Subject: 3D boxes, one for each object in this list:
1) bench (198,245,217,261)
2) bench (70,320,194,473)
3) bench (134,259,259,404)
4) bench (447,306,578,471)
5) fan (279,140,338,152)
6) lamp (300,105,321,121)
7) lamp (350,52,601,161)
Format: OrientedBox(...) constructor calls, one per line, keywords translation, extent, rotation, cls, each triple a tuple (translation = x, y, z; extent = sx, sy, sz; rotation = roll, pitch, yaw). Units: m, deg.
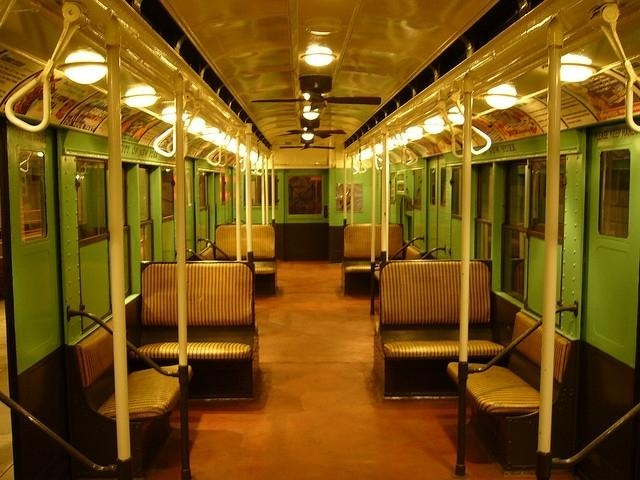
OrientedBox(translation=(-2.566, 0.333, 11.390), extent=(0.331, 0.470, 0.362), rotation=(-1, 8, -29), cls="bench")
OrientedBox(translation=(-1.905, 1.641, 4.984), extent=(0.611, 1.168, 1.745), rotation=(-1, 1, -8), cls="bench")
OrientedBox(translation=(-1.667, 1.270, 7.290), extent=(2.009, 2.142, 1.619), rotation=(0, 0, -2), cls="bench")
OrientedBox(translation=(2.085, 1.125, 5.567), extent=(1.214, 1.163, 2.276), rotation=(1, 2, 8), cls="bench")
OrientedBox(translation=(-0.340, -2.947, 15.212), extent=(1.187, 0.154, 1.330), rotation=(-2, 0, -7), cls="fan")
OrientedBox(translation=(-0.122, -1.654, 6.409), extent=(0.169, 0.146, 0.184), rotation=(1, 8, 8), cls="lamp")
OrientedBox(translation=(1.436, -1.228, 5.009), extent=(2.280, 0.435, 0.576), rotation=(-28, -30, 19), cls="lamp")
